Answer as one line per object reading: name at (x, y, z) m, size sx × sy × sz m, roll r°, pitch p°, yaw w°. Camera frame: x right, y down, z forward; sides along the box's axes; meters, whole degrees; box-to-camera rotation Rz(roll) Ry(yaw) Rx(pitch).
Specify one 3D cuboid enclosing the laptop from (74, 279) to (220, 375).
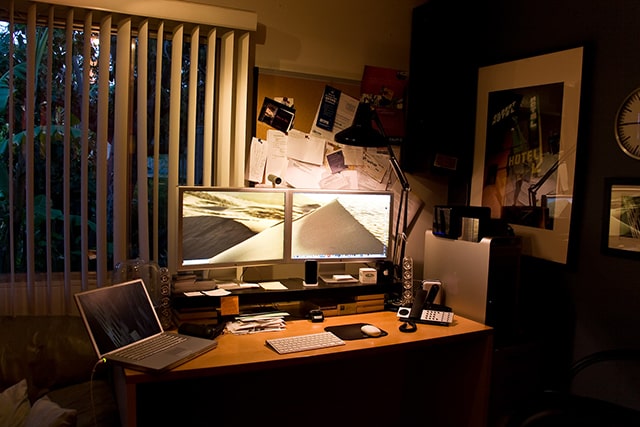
laptop at (-0.964, 0.615, 2.716) m, size 0.622 × 0.397 × 0.379 m, roll 3°, pitch 5°, yaw 16°

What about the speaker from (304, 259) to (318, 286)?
speaker at (-0.060, 0.399, 3.318) m, size 0.086 × 0.163 × 0.128 m, roll 1°, pitch 5°, yaw -2°

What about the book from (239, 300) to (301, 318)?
book at (-0.336, 0.640, 3.312) m, size 0.414 × 0.092 × 0.285 m, roll 1°, pitch 5°, yaw -12°

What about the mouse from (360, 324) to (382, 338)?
mouse at (0.317, 0.736, 3.042) m, size 0.130 × 0.056 × 0.094 m, roll 3°, pitch 5°, yaw 8°

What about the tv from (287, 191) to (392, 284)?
tv at (0.145, 0.092, 3.403) m, size 0.723 × 0.497 × 0.033 m, roll 0°, pitch 2°, yaw -10°

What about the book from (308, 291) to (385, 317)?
book at (0.172, 0.629, 3.331) m, size 0.566 × 0.137 × 0.089 m, roll 1°, pitch 5°, yaw -9°

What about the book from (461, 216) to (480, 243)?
book at (0.999, 0.110, 3.255) m, size 0.022 × 0.226 × 0.166 m, roll 6°, pitch -4°, yaw -26°

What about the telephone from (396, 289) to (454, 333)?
telephone at (0.673, 0.629, 3.237) m, size 0.417 × 0.232 × 0.252 m, roll 0°, pitch 5°, yaw -17°
